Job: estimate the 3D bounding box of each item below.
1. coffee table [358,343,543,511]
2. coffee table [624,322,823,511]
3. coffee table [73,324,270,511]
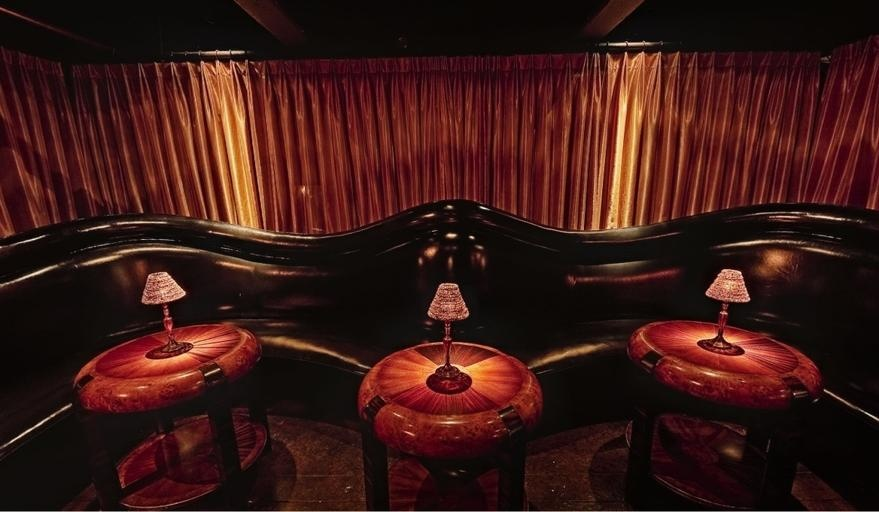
[{"bbox_3d":[0.110,1.465,5.257,1.663,1.240,1.526,0,19,3],"label":"coffee table"},{"bbox_3d":[2.387,1.445,5.388,1.795,1.622,1.650,1,19,5],"label":"coffee table"},{"bbox_3d":[-2.510,1.489,5.355,1.744,1.362,1.611,-2,22,-6],"label":"coffee table"}]
